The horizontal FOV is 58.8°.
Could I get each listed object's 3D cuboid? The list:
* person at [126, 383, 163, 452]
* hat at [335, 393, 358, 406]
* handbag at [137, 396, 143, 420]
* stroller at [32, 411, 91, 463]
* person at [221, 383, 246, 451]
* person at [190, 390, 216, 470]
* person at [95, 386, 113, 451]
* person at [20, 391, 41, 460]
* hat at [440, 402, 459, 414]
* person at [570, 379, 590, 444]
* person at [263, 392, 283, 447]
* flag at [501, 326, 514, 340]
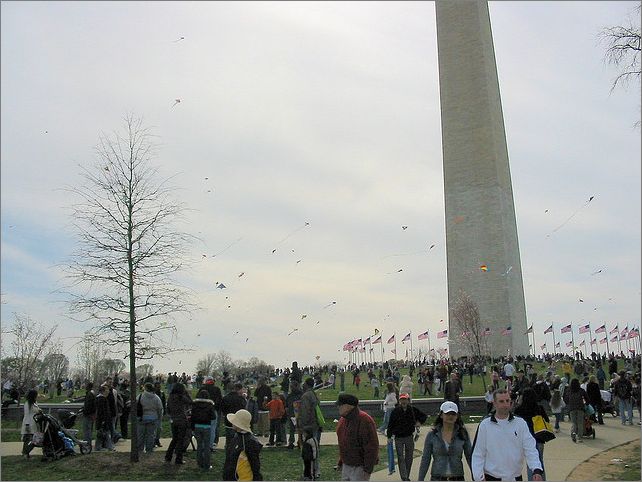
[{"bbox_3d":[-4.785,4.899,15.754,0.660,1.868,0.842,4,-17,-14],"label":"person"},{"bbox_3d":[0.385,2.847,10.155,0.428,0.133,0.285,1,-13,22],"label":"hat"},{"bbox_3d":[-4.961,4.614,15.542,0.130,0.462,0.354,3,15,-9],"label":"handbag"},{"bbox_3d":[-7.212,5.312,15.667,1.523,1.197,0.918,11,-24,-43],"label":"stroller"},{"bbox_3d":[-2.303,4.711,15.131,0.750,1.724,0.600,-3,-4,-8],"label":"person"},{"bbox_3d":[-2.962,4.693,14.144,0.582,1.874,0.623,3,-17,-11],"label":"person"},{"bbox_3d":[-6.256,5.107,16.469,0.581,1.783,1.229,5,-17,-18],"label":"person"},{"bbox_3d":[-7.894,4.961,15.425,0.412,1.754,1.258,7,-18,-24],"label":"person"},{"bbox_3d":[2.147,2.805,9.553,0.234,0.141,0.292,4,-18,2],"label":"hat"},{"bbox_3d":[7.714,5.093,17.092,0.515,1.851,1.093,-7,-17,22],"label":"person"},{"bbox_3d":[-1.406,5.592,17.890,0.508,1.603,1.278,1,-16,-4],"label":"person"},{"bbox_3d":[20.543,9.832,62.733,0.968,1.128,5.125,-5,-15,17],"label":"flag"}]
